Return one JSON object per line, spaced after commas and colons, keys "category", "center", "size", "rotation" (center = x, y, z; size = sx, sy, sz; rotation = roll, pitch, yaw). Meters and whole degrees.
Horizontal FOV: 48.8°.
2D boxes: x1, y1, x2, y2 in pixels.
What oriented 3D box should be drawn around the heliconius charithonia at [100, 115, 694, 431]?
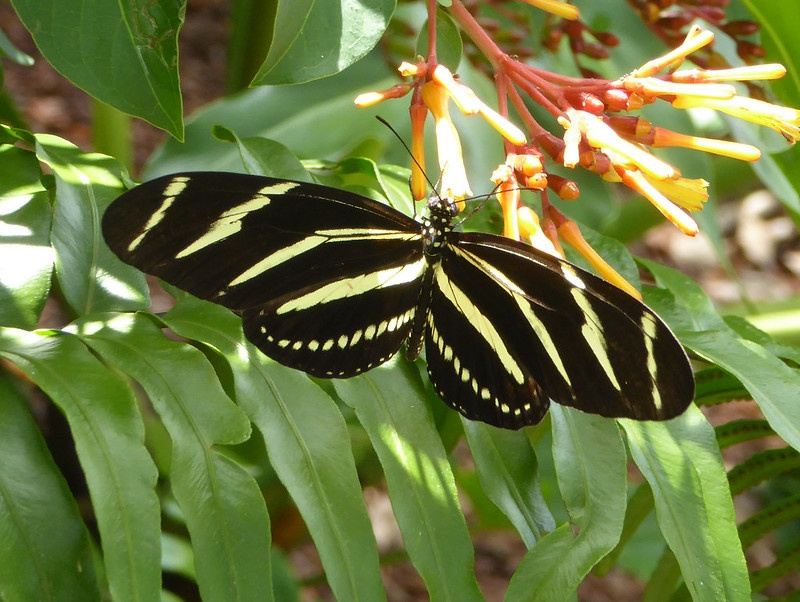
{"category": "heliconius charithonia", "center": [0.065, -0.004, 1.348], "size": [0.972, 0.135, 0.283], "rotation": [15, 73, -18]}
